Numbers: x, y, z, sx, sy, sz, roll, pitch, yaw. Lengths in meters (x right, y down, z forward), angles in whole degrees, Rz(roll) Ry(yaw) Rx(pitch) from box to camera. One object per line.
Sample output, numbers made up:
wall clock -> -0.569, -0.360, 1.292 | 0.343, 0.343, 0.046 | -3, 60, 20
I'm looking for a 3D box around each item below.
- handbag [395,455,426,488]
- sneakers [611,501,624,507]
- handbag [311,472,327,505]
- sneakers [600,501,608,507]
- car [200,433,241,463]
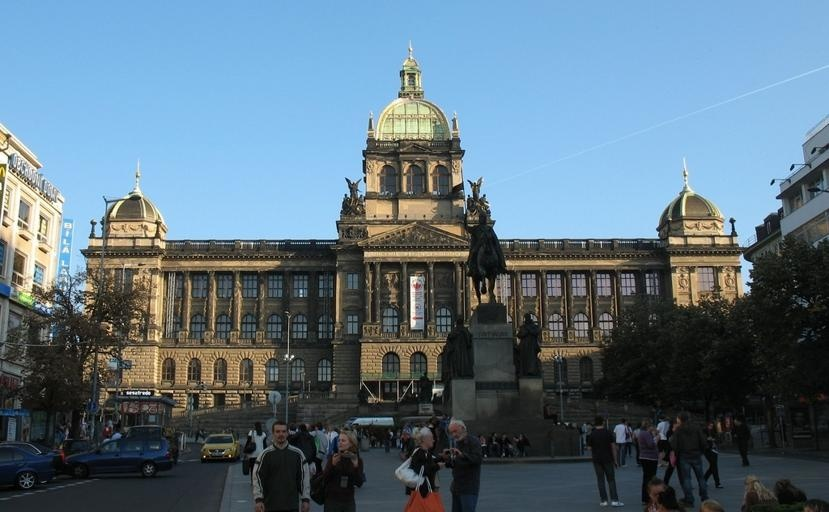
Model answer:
handbag -> -0.164, 9.037, 40.054 | 1.184, 1.241, 0.470 | 4, -19, -17
sneakers -> 9.563, 11.751, 45.692 | 0.670, 0.247, 0.243 | -1, -3, -4
handbag -> -4.024, 9.749, 40.628 | 0.604, 1.335, 0.931 | 0, -18, -6
sneakers -> 8.954, 11.777, 45.710 | 0.237, 0.214, 0.525 | 1, -5, 9
car -> -14.101, 14.082, 70.681 | 2.589, 2.233, 2.090 | 2, -18, -13
